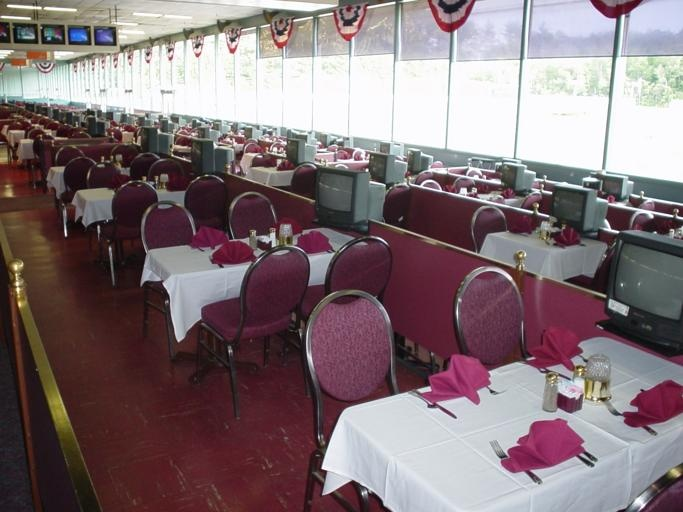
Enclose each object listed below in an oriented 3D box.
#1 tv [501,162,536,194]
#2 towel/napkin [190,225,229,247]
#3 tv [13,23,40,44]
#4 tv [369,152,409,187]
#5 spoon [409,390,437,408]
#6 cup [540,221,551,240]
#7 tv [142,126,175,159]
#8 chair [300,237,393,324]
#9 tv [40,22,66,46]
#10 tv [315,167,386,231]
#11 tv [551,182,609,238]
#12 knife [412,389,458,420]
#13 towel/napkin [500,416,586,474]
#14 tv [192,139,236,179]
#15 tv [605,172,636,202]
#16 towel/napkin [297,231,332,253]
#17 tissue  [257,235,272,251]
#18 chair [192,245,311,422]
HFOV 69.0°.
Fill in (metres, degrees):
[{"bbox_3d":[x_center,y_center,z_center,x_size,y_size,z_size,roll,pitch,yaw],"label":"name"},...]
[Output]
[{"bbox_3d":[2.584,-1.153,7.449,0.434,0.493,0.448,-10,18,-29],"label":"tv"},{"bbox_3d":[-1.139,-0.174,4.231,0.226,0.117,0.253,3,14,-3],"label":"towel/napkin"},{"bbox_3d":[-7.149,-5.093,11.217,0.418,0.448,0.224,-2,9,-28],"label":"tv"},{"bbox_3d":[0.756,-1.219,7.315,0.524,0.656,0.579,-7,19,-32],"label":"tv"},{"bbox_3d":[0.360,0.618,2.203,0.039,0.018,0.157,-6,6,-15],"label":"spoon"},{"bbox_3d":[2.012,-0.264,4.912,0.101,0.160,0.138,8,15,32],"label":"cup"},{"bbox_3d":[-3.228,-1.983,8.845,0.603,0.688,0.621,1,13,-34],"label":"tv"},{"bbox_3d":[0.017,0.146,3.346,0.358,0.726,0.396,-12,39,-30],"label":"chair"},{"bbox_3d":[-6.622,-5.114,11.380,0.399,0.418,0.208,-8,28,-34],"label":"tv"},{"bbox_3d":[0.092,-0.599,4.644,0.536,0.682,0.595,-11,22,-41],"label":"tv"},{"bbox_3d":[2.419,-0.550,5.191,0.465,0.568,0.518,-12,23,-28],"label":"tv"},{"bbox_3d":[0.404,0.645,2.157,0.058,0.037,0.296,-7,16,-21],"label":"knife"},{"bbox_3d":[0.764,0.703,1.866,0.380,0.114,0.134,-8,15,-29],"label":"towel/napkin"},{"bbox_3d":[-1.757,-1.304,6.872,0.521,0.600,0.546,-1,18,-33],"label":"tv"},{"bbox_3d":[3.880,-1.031,6.973,0.338,0.424,0.383,-10,24,-26],"label":"tv"},{"bbox_3d":[-0.222,-0.122,4.021,0.182,0.080,0.205,-5,26,-24],"label":"towel/napkin"},{"bbox_3d":[-0.628,-0.110,4.043,0.086,0.091,0.121,8,16,-36],"label":"tissue "},{"bbox_3d":[-0.627,0.435,3.559,0.645,1.147,0.694,-12,17,-41],"label":"chair"}]
